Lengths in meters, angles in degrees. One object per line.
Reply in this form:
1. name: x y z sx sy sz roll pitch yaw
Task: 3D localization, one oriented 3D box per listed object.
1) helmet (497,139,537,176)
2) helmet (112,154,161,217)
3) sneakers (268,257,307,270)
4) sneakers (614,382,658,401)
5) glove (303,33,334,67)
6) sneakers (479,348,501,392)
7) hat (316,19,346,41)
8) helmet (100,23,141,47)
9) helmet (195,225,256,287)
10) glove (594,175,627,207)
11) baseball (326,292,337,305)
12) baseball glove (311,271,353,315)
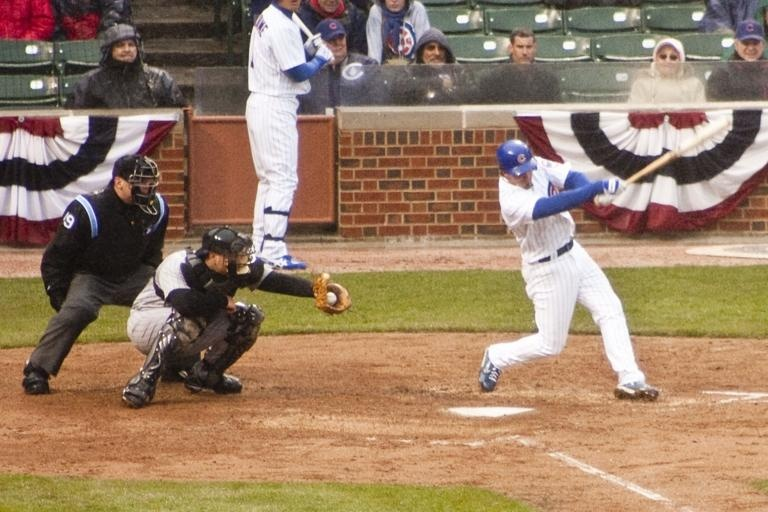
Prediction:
1. helmet: 1.495 -1.119 20.928 0.336 0.236 0.446 -41 39 -16
2. helmet: -2.908 -0.808 21.323 0.563 0.674 0.487 -3 -10 29
3. sneakers: -1.304 0.080 24.609 0.541 0.228 0.194 0 8 -10
4. sneakers: 2.918 1.513 20.916 0.324 0.130 0.242 5 1 1
5. glove: -0.846 -2.899 24.809 0.312 0.510 0.279 -12 -3 -42
6. sneakers: 1.247 1.288 21.258 0.244 0.550 0.183 2 -1 19
7. hat: -0.771 -3.265 26.017 0.283 0.224 0.384 -16 15 -22
8. helmet: -3.771 -3.163 25.993 0.491 0.334 0.346 2 6 -5
9. helmet: -1.803 -0.084 20.894 0.610 0.552 0.486 13 8 20
10. glove: 2.574 -0.734 20.795 0.368 0.136 0.275 -32 -4 26
11. baseball: -0.607 0.479 21.093 0.103 0.132 0.131 4 3 -7
12. baseball glove: -0.673 0.478 21.163 0.253 0.473 0.392 -34 -10 38
